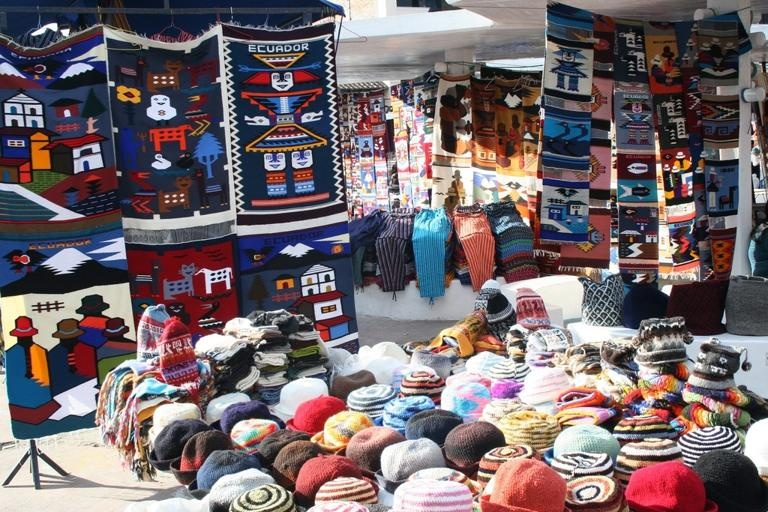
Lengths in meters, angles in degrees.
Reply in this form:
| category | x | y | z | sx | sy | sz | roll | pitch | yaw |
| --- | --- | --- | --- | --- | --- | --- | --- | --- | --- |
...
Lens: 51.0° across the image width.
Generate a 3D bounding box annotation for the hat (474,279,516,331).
| category | x | y | z | sx | sy | sz | roll | pitch | yaw |
| --- | --- | --- | --- | --- | --- | --- | --- | --- | --- |
| hat | 1.063 | 0.483 | 7.687 | 0.388 | 0.385 | 0.239 | -26 | -9 | 2 |
